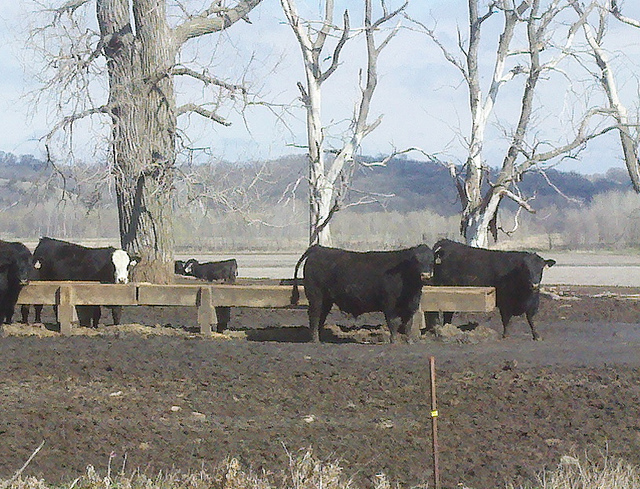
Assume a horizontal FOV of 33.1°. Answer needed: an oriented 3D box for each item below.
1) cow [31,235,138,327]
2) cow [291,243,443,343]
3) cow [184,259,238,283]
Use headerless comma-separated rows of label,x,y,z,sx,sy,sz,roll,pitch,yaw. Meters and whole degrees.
cow,-5.119,0.678,23.506,1.972,1.501,0.655,9,7,19
cow,0.955,0.818,21.723,3.605,2.195,1.216,-1,-2,11
cow,-3.147,0.731,31.372,1.306,0.698,0.676,2,-5,6
